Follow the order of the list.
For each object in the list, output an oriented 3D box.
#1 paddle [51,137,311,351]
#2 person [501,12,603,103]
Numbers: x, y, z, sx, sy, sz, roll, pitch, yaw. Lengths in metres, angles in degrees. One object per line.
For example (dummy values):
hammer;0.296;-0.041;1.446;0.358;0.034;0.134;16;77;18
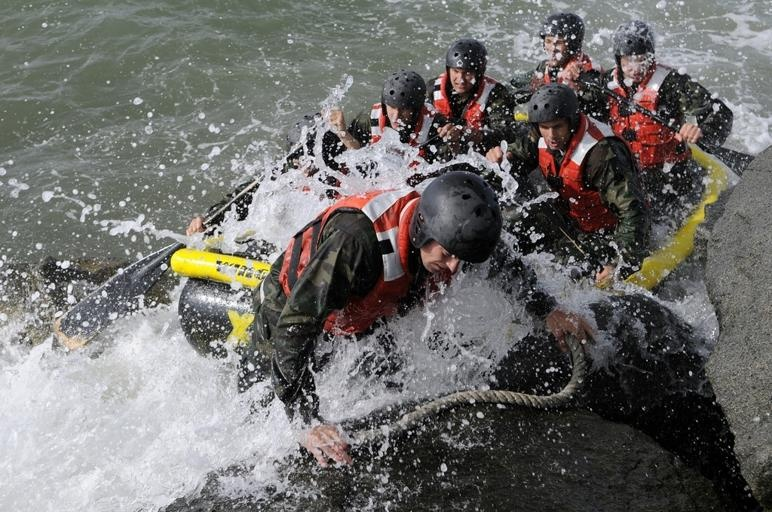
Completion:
paddle;-2.825;-0.094;12.026;4.071;0.181;0.456;-44;56;-2
person;2.776;-3.040;13.605;0.902;1.311;1.940;-9;16;-38
